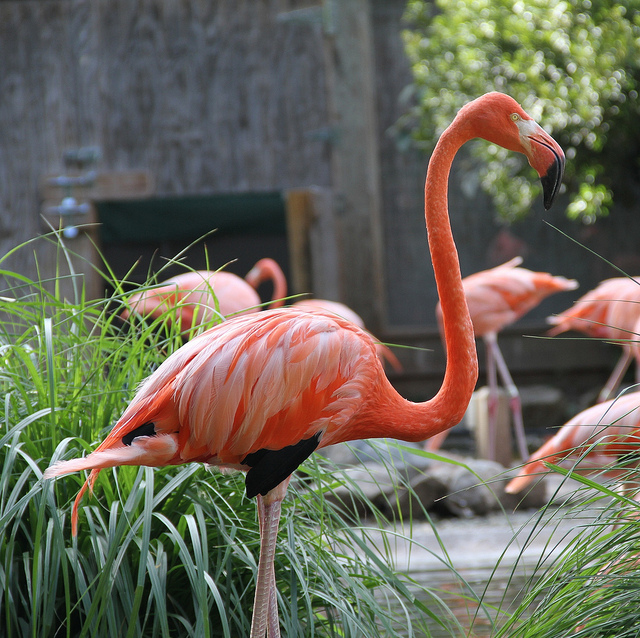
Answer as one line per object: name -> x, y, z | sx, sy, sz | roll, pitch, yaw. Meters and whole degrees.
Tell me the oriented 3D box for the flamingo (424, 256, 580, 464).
flamingo -> 0.909, 0.005, 5.949 | 0.617, 1.172, 0.677 | -4, 11, -19
